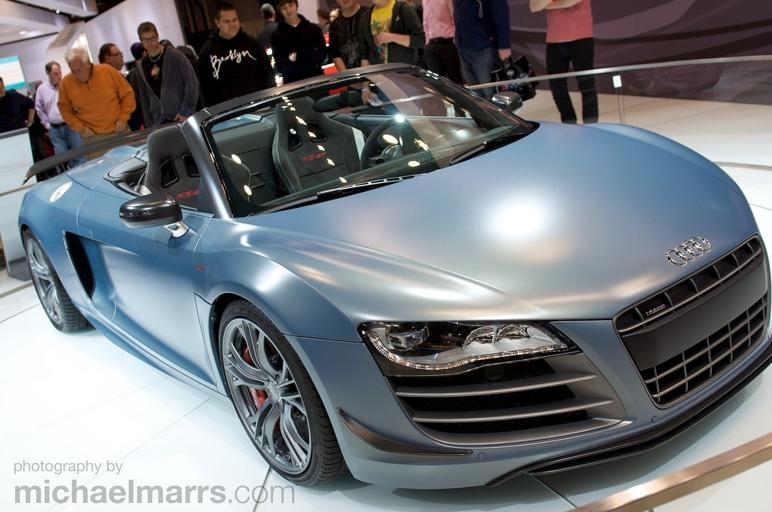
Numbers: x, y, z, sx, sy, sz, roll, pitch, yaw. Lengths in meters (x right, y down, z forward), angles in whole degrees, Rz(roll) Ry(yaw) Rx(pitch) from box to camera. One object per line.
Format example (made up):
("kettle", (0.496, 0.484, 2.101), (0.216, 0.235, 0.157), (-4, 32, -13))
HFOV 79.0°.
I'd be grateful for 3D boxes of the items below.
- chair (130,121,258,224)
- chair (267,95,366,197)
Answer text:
("chair", (-1.333, -0.606, 3.141), (0.575, 0.395, 0.334), (5, 32, 7))
("chair", (-0.438, -0.638, 2.751), (0.480, 0.551, 0.469), (-32, 21, -18))
